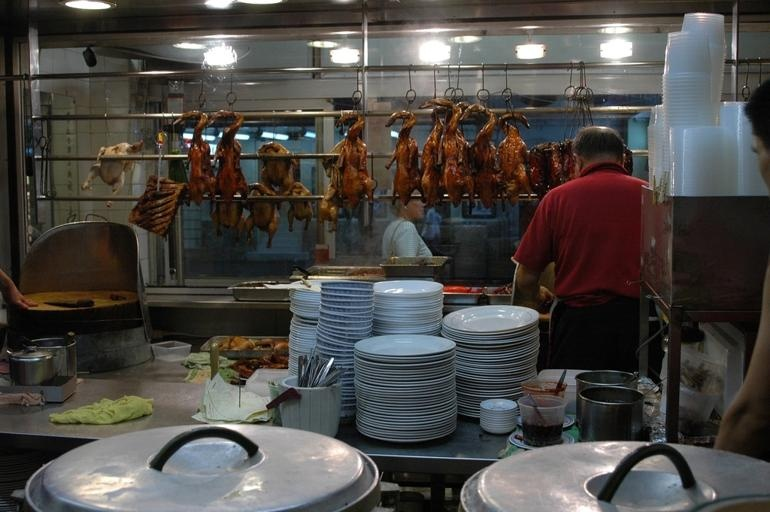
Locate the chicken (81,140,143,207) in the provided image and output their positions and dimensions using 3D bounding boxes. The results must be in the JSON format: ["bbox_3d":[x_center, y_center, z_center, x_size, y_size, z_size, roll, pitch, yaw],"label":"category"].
[{"bbox_3d":[-2.107,-0.695,5.816,0.438,0.385,0.464,-2,5,-10],"label":"chicken"}]

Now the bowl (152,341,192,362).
[{"bbox_3d":[-1.502,0.673,5.266,0.147,0.061,0.185,5,6,38],"label":"bowl"}]

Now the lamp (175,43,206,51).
[{"bbox_3d":[-1.626,-1.746,6.199,0.263,0.056,0.079,0,5,2],"label":"lamp"}]

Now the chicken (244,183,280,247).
[{"bbox_3d":[-0.879,-0.262,5.617,0.214,0.544,0.348,1,29,2],"label":"chicken"}]

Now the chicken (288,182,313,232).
[{"bbox_3d":[-0.656,-0.393,5.797,0.241,0.331,0.632,0,-2,-5],"label":"chicken"}]

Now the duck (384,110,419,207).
[{"bbox_3d":[0.142,-0.702,5.299,0.232,0.651,0.338,-1,5,0],"label":"duck"}]

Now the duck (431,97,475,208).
[{"bbox_3d":[0.481,-0.729,5.182,0.264,0.722,0.212,0,5,6],"label":"duck"}]

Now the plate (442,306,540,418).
[{"bbox_3d":[0.566,0.433,3.537,0.521,0.423,0.503,-6,7,-32],"label":"plate"}]

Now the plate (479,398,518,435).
[{"bbox_3d":[0.515,0.720,3.359,0.158,0.083,0.150,0,-2,-2],"label":"plate"}]

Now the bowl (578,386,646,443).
[{"bbox_3d":[0.962,0.658,3.060,0.284,0.207,0.223,-1,5,2],"label":"bowl"}]

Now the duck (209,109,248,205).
[{"bbox_3d":[-1.111,-0.715,5.366,0.231,0.647,0.307,-2,5,-13],"label":"duck"}]

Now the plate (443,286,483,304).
[{"bbox_3d":[0.634,0.315,5.921,0.310,0.096,0.474,0,5,6],"label":"plate"}]

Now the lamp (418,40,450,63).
[{"bbox_3d":[0.408,-1.670,6.096,0.196,0.178,0.042,3,11,2],"label":"lamp"}]

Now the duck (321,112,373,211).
[{"bbox_3d":[-0.255,-0.695,5.494,0.350,0.668,0.676,-1,5,-3],"label":"duck"}]

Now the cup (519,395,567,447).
[{"bbox_3d":[0.649,0.679,3.082,0.198,0.147,0.202,0,-3,0],"label":"cup"}]

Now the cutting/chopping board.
[{"bbox_3d":[-2.047,0.371,5.020,0.836,0.192,0.659,-2,5,-16],"label":"cutting/chopping board"}]

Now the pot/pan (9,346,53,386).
[{"bbox_3d":[-1.795,0.550,3.751,0.193,0.150,0.183,0,-2,-1],"label":"pot/pan"}]

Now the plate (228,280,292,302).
[{"bbox_3d":[-0.929,0.284,5.894,0.519,0.128,0.464,0,5,11],"label":"plate"}]

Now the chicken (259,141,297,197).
[{"bbox_3d":[-0.777,-0.681,5.574,0.311,0.170,0.427,5,-38,8],"label":"chicken"}]

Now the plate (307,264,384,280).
[{"bbox_3d":[-0.288,0.124,5.872,0.478,0.077,0.646,-3,6,-28],"label":"plate"}]

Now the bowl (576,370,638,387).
[{"bbox_3d":[0.992,0.550,3.308,0.259,0.053,0.191,1,5,15],"label":"bowl"}]

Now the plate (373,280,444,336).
[{"bbox_3d":[0.100,0.263,3.594,0.326,0.260,0.320,2,6,27],"label":"plate"}]
